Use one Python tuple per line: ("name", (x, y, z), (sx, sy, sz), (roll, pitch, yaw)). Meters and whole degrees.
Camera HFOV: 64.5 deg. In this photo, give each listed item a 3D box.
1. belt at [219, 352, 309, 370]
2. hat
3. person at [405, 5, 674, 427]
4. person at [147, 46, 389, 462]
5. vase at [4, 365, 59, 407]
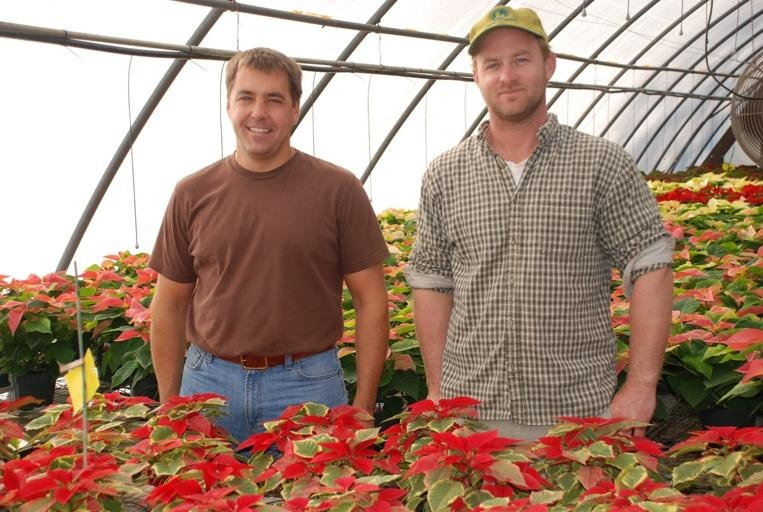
("belt", (-0.573, 0.513, 2.947), (0.429, 0.080, 0.078), (0, -7, 7))
("hat", (0.581, -1.070, 2.779), (0.359, 0.253, 0.202), (-1, -8, 9))
("person", (0.670, -0.148, 2.782), (1.196, 1.941, 0.543), (-3, -9, 23))
("person", (-0.582, -0.041, 3.041), (1.236, 1.919, 0.591), (1, -8, -1))
("vase", (-2.769, 1.035, 4.802), (0.352, 0.309, 0.304), (4, -8, -24))
